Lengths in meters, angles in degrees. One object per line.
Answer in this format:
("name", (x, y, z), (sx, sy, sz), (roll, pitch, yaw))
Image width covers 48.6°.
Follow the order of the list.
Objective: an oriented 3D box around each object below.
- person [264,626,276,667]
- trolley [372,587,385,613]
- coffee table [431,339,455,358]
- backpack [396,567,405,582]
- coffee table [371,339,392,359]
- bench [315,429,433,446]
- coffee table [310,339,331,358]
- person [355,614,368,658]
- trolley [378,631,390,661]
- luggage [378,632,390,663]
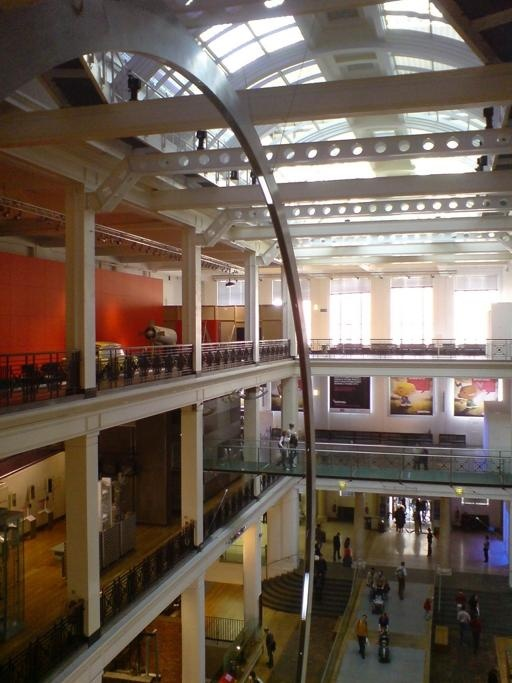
("person", (0.362, 8.259, 15.415), (0.286, 0.990, 0.798), (1, 2, 3))
("trolley", (3.714, 7.949, 17.375), (0.340, 0.677, 0.433), (1, 2, 10))
("coffee table", (7.956, 0.199, 24.277), (1.058, 0.503, 4.467), (1, 2, 19))
("backpack", (4.567, 7.319, 17.953), (0.232, 0.582, 0.400), (1, 2, 8))
("coffee table", (5.794, 0.384, 26.047), (1.220, 1.093, 0.785), (-1, -11, 7))
("bench", (5.294, 4.389, 26.083), (5.134, 0.565, 0.960), (1, 2, 18))
("coffee table", (3.092, 0.302, 27.579), (0.855, 0.831, 0.852), (0, -1, 6))
("person", (2.747, 7.674, 14.917), (0.262, 1.223, 0.604), (1, 2, 9))
("trolley", (3.329, 7.806, 14.569), (0.252, 0.361, 0.653), (2, 20, 7))
("luggage", (3.252, 7.815, 14.584), (0.242, 0.373, 0.680), (2, 21, 6))
